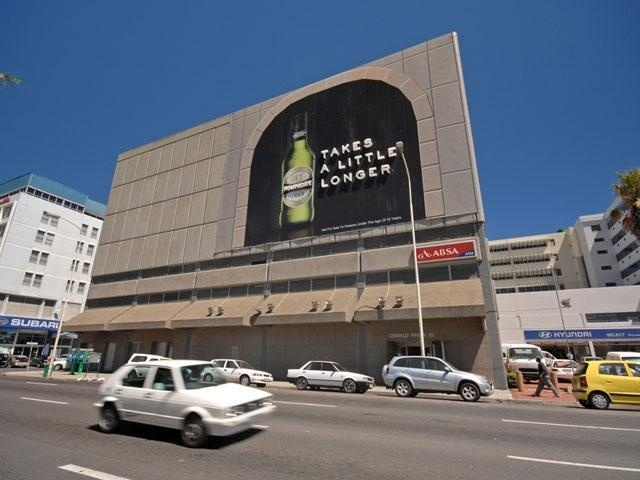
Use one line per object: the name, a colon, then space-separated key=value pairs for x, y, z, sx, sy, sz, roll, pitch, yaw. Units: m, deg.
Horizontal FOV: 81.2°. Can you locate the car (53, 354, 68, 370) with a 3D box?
car: x=-25.866 y=12.382 z=37.423 sx=1.116 sy=1.137 sz=2.260 roll=9 pitch=-15 yaw=-34
